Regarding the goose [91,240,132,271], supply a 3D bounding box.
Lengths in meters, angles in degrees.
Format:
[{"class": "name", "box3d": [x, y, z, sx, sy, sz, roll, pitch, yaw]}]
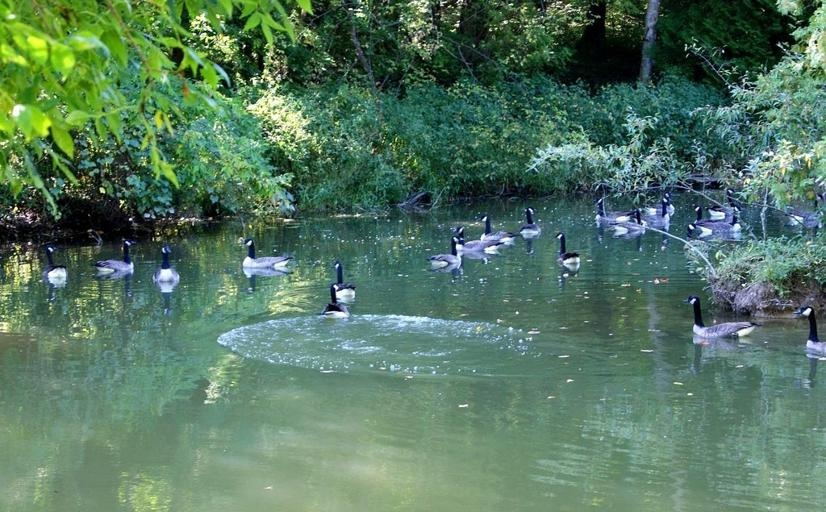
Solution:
[{"class": "goose", "box3d": [-10.006, 0.153, 29.969, 1.691, 1.191, 0.596, -1, -9, -43]}]

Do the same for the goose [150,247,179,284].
[{"class": "goose", "box3d": [-7.884, 0.285, 28.566, 0.792, 1.401, 1.813, -1, 10, -17]}]
